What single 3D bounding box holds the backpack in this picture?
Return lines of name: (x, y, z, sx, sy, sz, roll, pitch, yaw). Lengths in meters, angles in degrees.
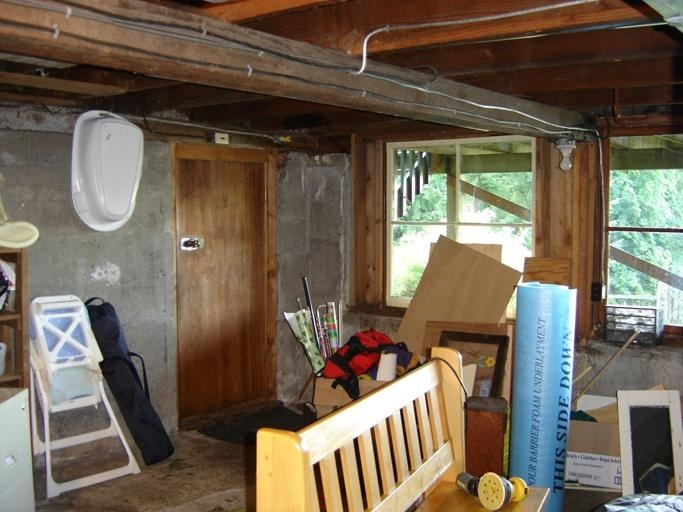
backpack: (0.131, 0.778, 4.767, 0.430, 0.142, 0.330, -40, 27, -26)
